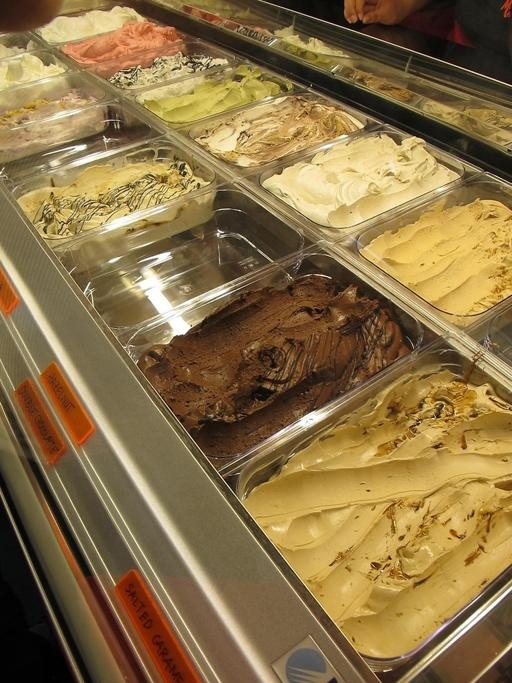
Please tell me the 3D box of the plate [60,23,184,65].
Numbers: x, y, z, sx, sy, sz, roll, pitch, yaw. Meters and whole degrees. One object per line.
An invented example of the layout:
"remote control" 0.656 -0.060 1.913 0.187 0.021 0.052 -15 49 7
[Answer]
"plate" -0.662 -1.443 2.647 0.466 0.104 0.352 -23 51 -15

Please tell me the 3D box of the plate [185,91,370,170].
"plate" 0.067 -0.759 1.913 0.545 0.087 0.373 -30 49 -12
